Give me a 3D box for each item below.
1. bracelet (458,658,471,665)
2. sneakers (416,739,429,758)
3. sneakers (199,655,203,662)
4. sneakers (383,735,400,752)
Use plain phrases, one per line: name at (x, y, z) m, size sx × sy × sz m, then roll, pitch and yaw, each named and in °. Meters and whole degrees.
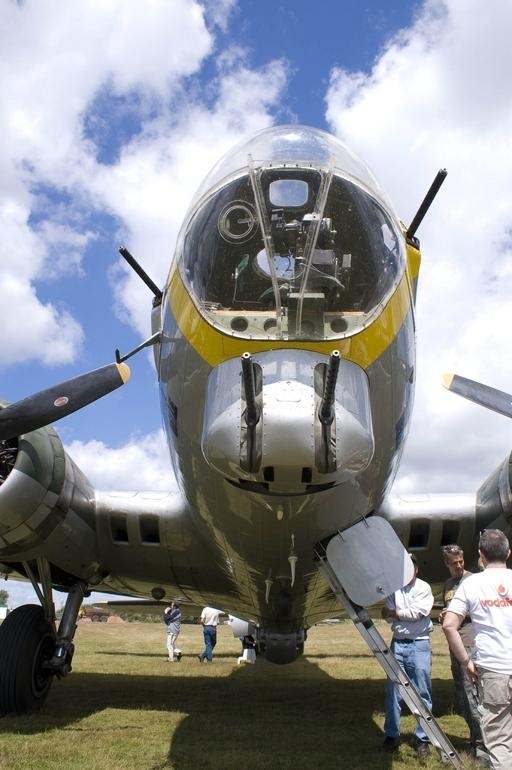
bracelet at (1.219, 1.609, 4.102) m, size 0.044 × 0.032 × 0.043 m, roll 6°, pitch -3°, yaw 10°
sneakers at (1.256, 2.783, 5.355) m, size 0.075 × 0.133 × 0.091 m, roll 23°, pitch -51°, yaw -6°
sneakers at (-1.138, 5.680, 14.569) m, size 0.062 × 0.164 × 0.165 m, roll -5°, pitch -44°, yaw 8°
sneakers at (1.066, 2.880, 5.613) m, size 0.120 × 0.038 × 0.157 m, roll 15°, pitch -51°, yaw -5°
